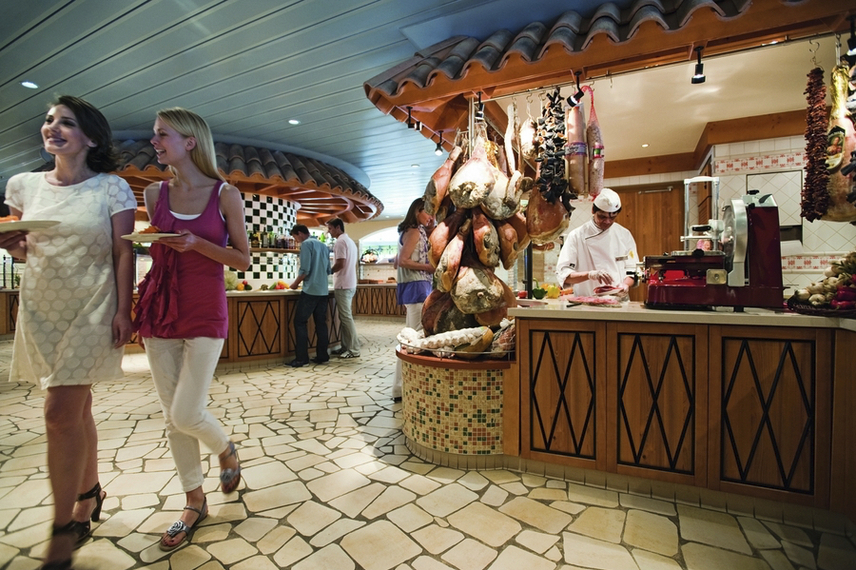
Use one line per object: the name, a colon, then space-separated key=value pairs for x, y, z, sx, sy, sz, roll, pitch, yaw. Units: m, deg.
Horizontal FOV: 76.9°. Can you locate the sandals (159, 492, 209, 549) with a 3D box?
sandals: x=-1.672 y=1.618 z=3.697 sx=0.164 sy=0.174 sz=0.462 roll=5 pitch=7 yaw=10

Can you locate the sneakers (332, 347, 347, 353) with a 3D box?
sneakers: x=-1.369 y=1.024 z=8.351 sx=0.091 sy=0.101 sz=0.260 roll=6 pitch=-16 yaw=-43

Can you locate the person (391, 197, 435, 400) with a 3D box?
person: x=-0.148 y=-0.260 z=6.007 sx=0.394 sy=1.416 sz=0.514 roll=-1 pitch=15 yaw=-4

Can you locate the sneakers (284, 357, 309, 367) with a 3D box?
sneakers: x=-1.805 y=1.041 z=7.474 sx=0.318 sy=0.133 sz=0.270 roll=-3 pitch=15 yaw=-11

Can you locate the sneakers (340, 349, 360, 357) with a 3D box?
sneakers: x=-1.183 y=1.027 z=8.108 sx=0.318 sy=0.128 sz=0.115 roll=0 pitch=-7 yaw=10

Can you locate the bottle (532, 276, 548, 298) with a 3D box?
bottle: x=0.981 y=0.036 z=4.865 sx=0.158 sy=0.190 sz=0.167 roll=-6 pitch=-6 yaw=35

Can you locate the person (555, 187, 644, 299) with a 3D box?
person: x=1.804 y=-0.230 z=5.601 sx=0.918 sy=1.385 sz=0.718 roll=-4 pitch=8 yaw=-20

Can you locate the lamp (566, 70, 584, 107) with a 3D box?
lamp: x=1.303 y=-1.703 z=4.723 sx=0.116 sy=0.307 sz=0.640 roll=3 pitch=15 yaw=14

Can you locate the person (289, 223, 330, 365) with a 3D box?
person: x=-1.616 y=0.225 z=7.477 sx=0.699 sy=1.743 sz=0.468 roll=-8 pitch=17 yaw=-27

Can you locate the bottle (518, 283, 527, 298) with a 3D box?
bottle: x=1.081 y=0.060 z=6.103 sx=0.127 sy=0.121 sz=0.123 roll=-6 pitch=-4 yaw=26

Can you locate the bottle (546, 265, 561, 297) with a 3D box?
bottle: x=1.550 y=-0.066 z=6.652 sx=0.165 sy=0.407 sz=0.261 roll=-10 pitch=-15 yaw=32

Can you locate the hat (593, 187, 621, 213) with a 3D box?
hat: x=1.827 y=-0.861 z=5.503 sx=0.233 sy=0.156 sz=0.321 roll=9 pitch=17 yaw=8

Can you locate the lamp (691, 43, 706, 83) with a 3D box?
lamp: x=2.246 y=-1.808 z=4.446 sx=0.082 sy=0.297 sz=0.495 roll=7 pitch=16 yaw=24

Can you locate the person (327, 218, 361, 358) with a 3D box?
person: x=-1.233 y=0.049 z=8.056 sx=0.375 sy=2.109 sz=0.803 roll=-3 pitch=15 yaw=-10

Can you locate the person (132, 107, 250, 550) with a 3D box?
person: x=-1.673 y=0.229 z=3.751 sx=0.707 sy=2.807 sz=0.872 roll=12 pitch=19 yaw=39
